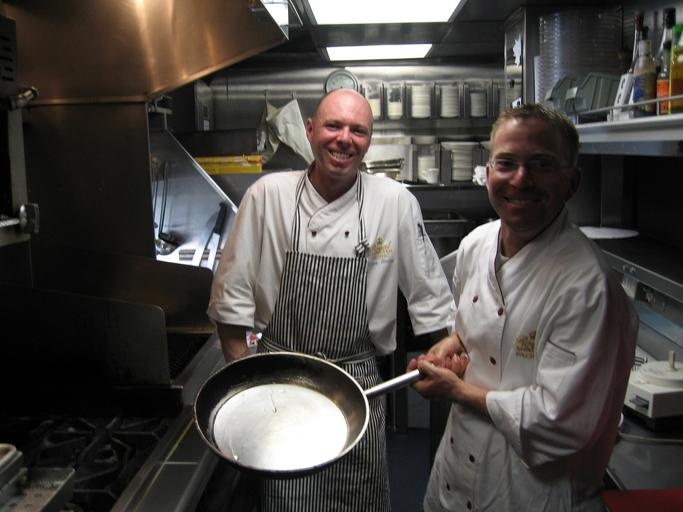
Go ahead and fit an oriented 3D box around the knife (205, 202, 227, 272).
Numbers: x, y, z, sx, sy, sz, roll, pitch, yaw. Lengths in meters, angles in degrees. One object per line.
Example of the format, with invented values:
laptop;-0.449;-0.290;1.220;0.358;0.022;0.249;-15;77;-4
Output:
knife;-0.685;-0.098;2.756;0.073;0.520;0.039;11;27;-9

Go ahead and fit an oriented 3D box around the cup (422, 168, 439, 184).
cup;0.828;-0.746;4.662;0.139;0.145;0.098;-1;13;7

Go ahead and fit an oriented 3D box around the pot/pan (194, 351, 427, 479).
pot/pan;-0.098;0.337;1.095;0.434;0.135;0.386;3;17;15

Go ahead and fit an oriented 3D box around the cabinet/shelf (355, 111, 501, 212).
cabinet/shelf;0.835;-1.188;4.707;1.307;1.047;0.728;2;17;11

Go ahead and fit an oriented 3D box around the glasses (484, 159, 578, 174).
glasses;0.454;-0.224;1.240;0.170;0.035;0.048;5;17;22
